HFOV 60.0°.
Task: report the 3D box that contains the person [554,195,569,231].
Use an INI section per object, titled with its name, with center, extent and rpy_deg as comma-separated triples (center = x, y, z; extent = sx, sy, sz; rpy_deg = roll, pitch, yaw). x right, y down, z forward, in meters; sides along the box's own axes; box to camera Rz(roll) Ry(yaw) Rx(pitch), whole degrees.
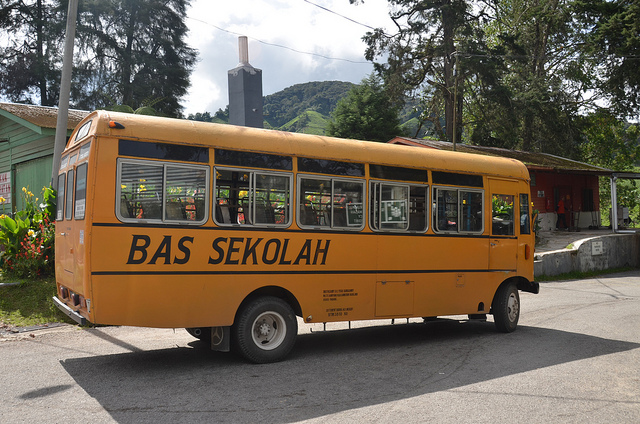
[person]
center = 16.733, -0.021, 38.623
extent = 0.886, 2.311, 1.333
rpy_deg = 5, 7, 34

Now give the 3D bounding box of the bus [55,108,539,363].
[bus]
center = 0.299, 0.671, 13.812
extent = 11.532, 5.055, 3.898
rpy_deg = 3, -1, -25
